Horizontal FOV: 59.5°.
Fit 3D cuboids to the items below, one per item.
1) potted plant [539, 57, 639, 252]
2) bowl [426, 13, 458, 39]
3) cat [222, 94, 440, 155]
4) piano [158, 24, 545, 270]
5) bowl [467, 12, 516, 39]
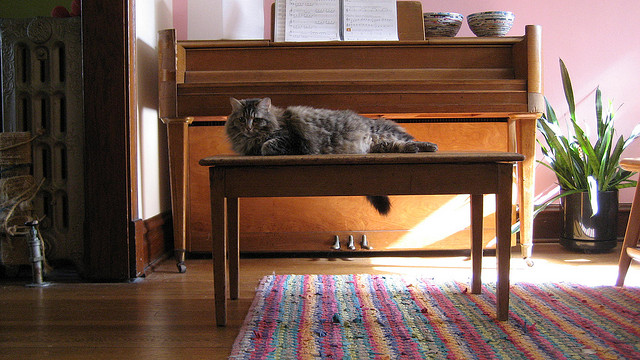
[{"bbox_3d":[2.133,-0.176,4.474,0.712,1.499,0.783,1,8,19],"label":"potted plant"},{"bbox_3d":[0.939,-1.196,4.410,0.275,0.129,0.248,0,5,6],"label":"bowl"},{"bbox_3d":[-0.016,-0.316,3.713,1.550,0.492,0.475,0,4,-7],"label":"cat"},{"bbox_3d":[0.216,-0.220,4.449,2.926,1.542,0.921,-1,-11,8],"label":"piano"},{"bbox_3d":[1.306,-1.187,4.283,0.305,0.118,0.277,1,3,7],"label":"bowl"}]
